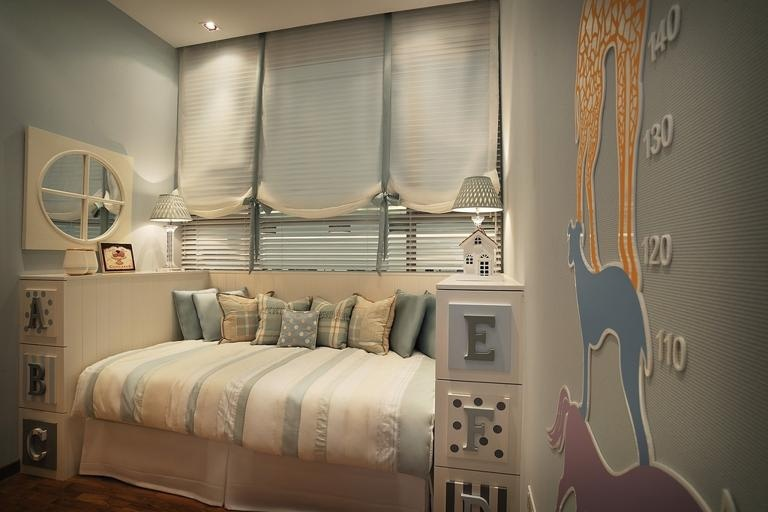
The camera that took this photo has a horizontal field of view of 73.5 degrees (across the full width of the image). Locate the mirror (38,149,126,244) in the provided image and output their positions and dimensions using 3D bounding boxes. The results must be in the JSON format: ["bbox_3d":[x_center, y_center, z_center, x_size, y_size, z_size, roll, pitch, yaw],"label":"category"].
[{"bbox_3d":[-2.256,-0.437,3.778,0.082,0.673,0.700,-3,4,15],"label":"mirror"}]

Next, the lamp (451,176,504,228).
[{"bbox_3d":[0.630,-0.329,3.537,0.351,0.362,0.373,0,-2,3],"label":"lamp"}]

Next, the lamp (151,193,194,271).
[{"bbox_3d":[-1.847,-0.244,4.437,0.309,0.742,0.584,2,-2,-22],"label":"lamp"}]
